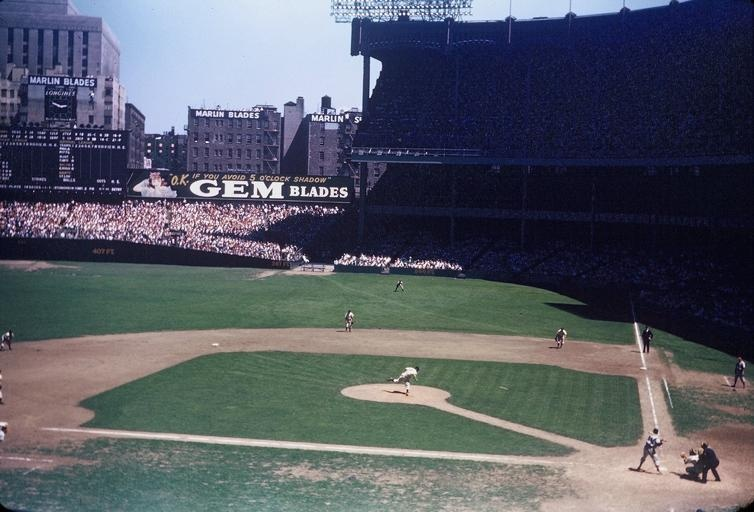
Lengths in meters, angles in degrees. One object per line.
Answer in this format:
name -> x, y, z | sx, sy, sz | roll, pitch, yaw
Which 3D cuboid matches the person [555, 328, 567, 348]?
person -> 15.800, 7.061, 77.167 | 1.043, 1.052, 1.790 | 1, 4, 8
